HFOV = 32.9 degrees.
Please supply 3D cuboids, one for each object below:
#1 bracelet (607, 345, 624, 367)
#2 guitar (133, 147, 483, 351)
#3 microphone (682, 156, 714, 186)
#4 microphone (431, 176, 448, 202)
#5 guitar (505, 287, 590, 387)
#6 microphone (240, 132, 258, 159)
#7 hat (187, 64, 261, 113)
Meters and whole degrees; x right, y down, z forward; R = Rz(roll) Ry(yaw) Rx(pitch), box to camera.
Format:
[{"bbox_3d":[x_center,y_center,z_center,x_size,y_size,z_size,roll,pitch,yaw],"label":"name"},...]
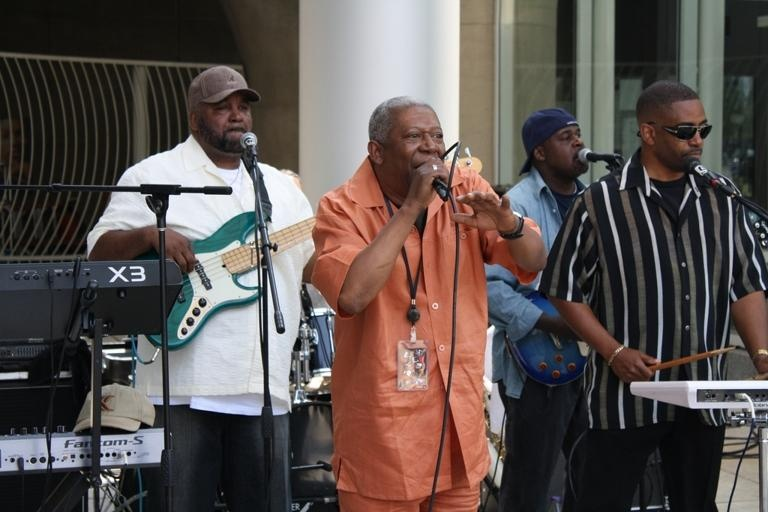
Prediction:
[{"bbox_3d":[1.315,0.563,7.399,0.105,0.026,0.084,-48,9,3],"label":"bracelet"},{"bbox_3d":[-0.451,-0.235,8.088,2.488,0.859,0.299,-33,5,-17],"label":"guitar"},{"bbox_3d":[1.791,-0.464,7.375,0.156,0.201,0.289,-5,-5,7],"label":"microphone"},{"bbox_3d":[0.296,-0.345,6.840,0.062,0.124,0.039,-39,-57,21],"label":"microphone"},{"bbox_3d":[1.017,0.523,7.875,0.123,0.537,0.534,-24,16,50],"label":"guitar"},{"bbox_3d":[-0.778,-0.625,7.489,0.094,0.185,0.231,-3,-5,-7],"label":"microphone"},{"bbox_3d":[-0.969,-0.977,7.633,0.253,0.186,0.339,-7,-7,-45],"label":"hat"}]
